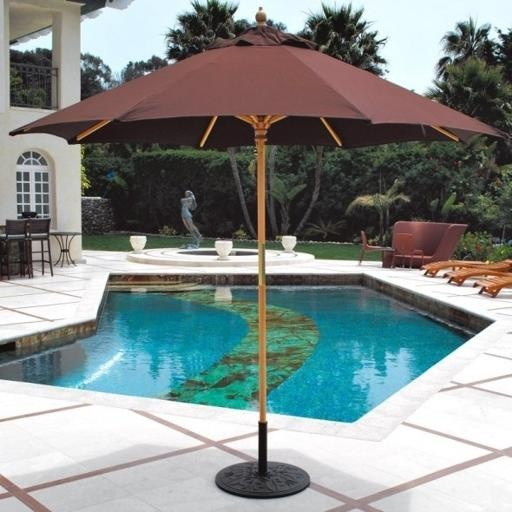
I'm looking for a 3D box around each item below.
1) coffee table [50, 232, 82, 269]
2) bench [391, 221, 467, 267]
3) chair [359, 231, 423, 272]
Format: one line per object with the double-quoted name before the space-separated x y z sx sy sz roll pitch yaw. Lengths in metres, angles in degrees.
"coffee table" -4.870 -0.166 13.207 0.908 0.801 0.889 0 0 -7
"bench" 4.298 -0.325 13.324 1.435 0.947 1.533 5 -5 -42
"chair" 3.438 -0.108 13.609 1.838 1.080 0.998 -1 3 5
